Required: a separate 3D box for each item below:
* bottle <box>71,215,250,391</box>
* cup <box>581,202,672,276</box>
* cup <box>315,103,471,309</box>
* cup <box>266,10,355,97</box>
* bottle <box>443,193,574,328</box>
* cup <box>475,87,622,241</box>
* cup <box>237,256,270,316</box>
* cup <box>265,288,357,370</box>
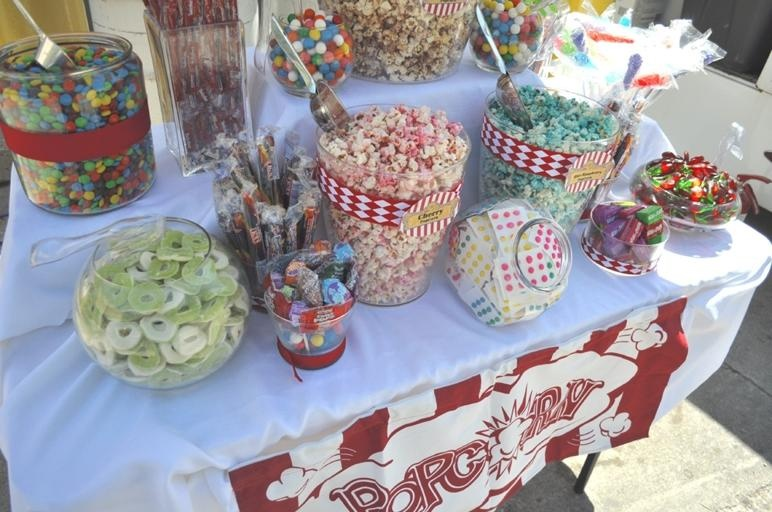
[{"bbox_3d":[-0.570,0.118,1.638,0.377,0.304,0.459,1,62,-13],"label":"bottle"},{"bbox_3d":[0.737,-0.057,2.027,0.224,0.140,0.230,-2,50,2],"label":"cup"},{"bbox_3d":[0.072,-0.192,2.039,0.474,0.616,0.515,1,38,-1],"label":"cup"},{"bbox_3d":[-0.220,-0.604,1.873,0.220,0.216,0.241,6,34,-4],"label":"cup"},{"bbox_3d":[0.355,-0.015,1.994,0.384,0.357,0.431,5,85,-17],"label":"bottle"},{"bbox_3d":[0.466,-0.287,2.095,0.383,0.446,0.426,1,44,-20],"label":"cup"},{"bbox_3d":[-0.384,0.104,1.848,0.095,0.106,0.159,-1,27,-17],"label":"cup"},{"bbox_3d":[-0.193,0.202,1.748,0.207,0.195,0.217,1,37,-1],"label":"cup"}]
